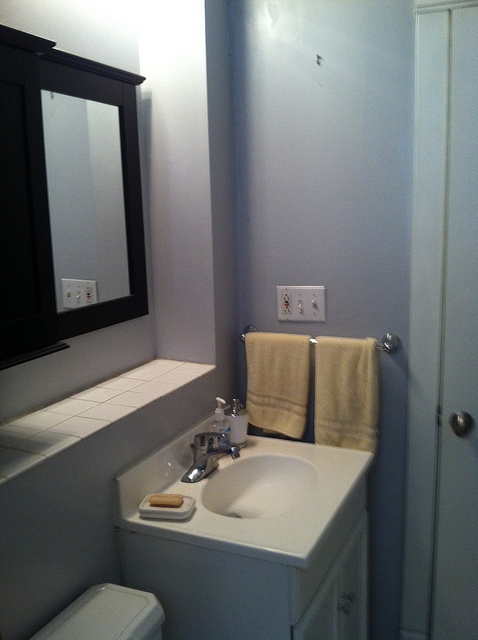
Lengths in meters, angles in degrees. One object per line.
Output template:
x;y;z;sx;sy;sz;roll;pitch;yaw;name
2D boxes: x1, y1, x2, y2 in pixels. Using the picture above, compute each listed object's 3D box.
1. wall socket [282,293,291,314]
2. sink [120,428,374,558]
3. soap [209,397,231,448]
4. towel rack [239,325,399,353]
0.153;-0.052;1.574;0.030;0.067;0.013;0;5;12;wall socket
0.056;0.441;1.289;0.462;0.190;0.663;2;8;31;sink
-0.047;0.319;1.470;0.042;0.150;0.033;-9;-12;-7;soap
0.266;0.060;1.508;0.220;0.075;0.054;3;10;23;towel rack
